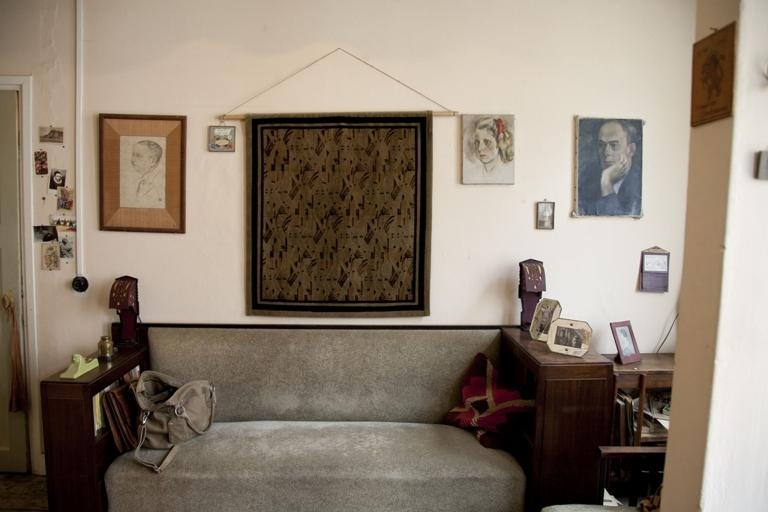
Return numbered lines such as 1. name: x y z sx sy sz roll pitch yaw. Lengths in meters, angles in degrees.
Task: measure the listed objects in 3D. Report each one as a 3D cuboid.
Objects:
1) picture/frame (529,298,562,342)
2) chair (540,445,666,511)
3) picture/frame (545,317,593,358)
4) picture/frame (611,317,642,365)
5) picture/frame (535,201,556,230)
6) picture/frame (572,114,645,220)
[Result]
1. picture/frame: 1.212 0.496 4.646 0.047 0.354 0.248 23 -4 -38
2. chair: 1.470 1.521 4.214 0.667 0.656 0.290 0 5 0
3. picture/frame: 1.328 0.603 4.478 0.235 0.217 0.033 8 -18 24
4. picture/frame: 1.893 0.679 4.859 0.285 0.345 0.179 -5 -3 -27
5. picture/frame: 1.285 -0.327 4.934 0.211 0.312 0.031 0 0 -3
6. picture/frame: 1.775 -0.734 4.930 0.747 1.036 0.144 1 0 -1
